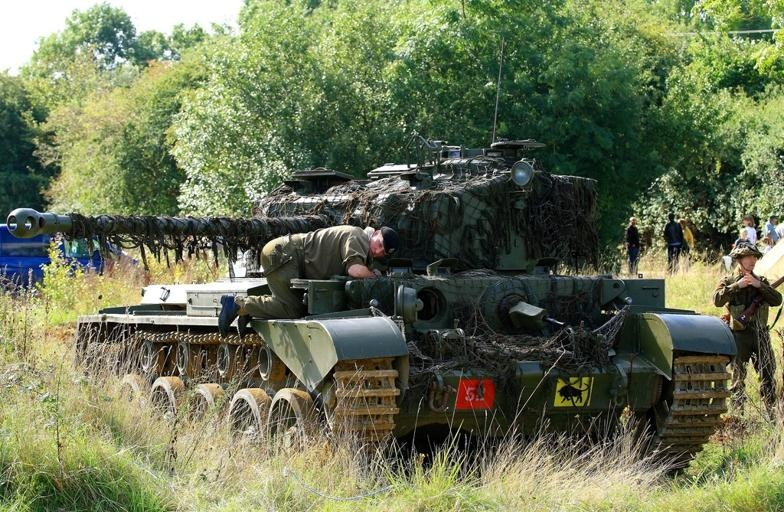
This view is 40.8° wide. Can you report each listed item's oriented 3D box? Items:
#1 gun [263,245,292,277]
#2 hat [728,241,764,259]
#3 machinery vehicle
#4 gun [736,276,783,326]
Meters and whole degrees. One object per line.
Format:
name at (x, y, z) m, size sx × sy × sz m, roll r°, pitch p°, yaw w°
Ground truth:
gun at (-1.906, 0.042, 17.504) m, size 0.492 × 0.396 × 0.355 m, roll -40°, pitch -3°, yaw 10°
hat at (6.717, -0.116, 19.919) m, size 0.556 × 0.324 × 0.643 m, roll 0°, pitch -5°, yaw 3°
machinery vehicle at (0.253, 0.643, 18.120) m, size 10.417 × 5.665 × 4.747 m, roll 0°, pitch -3°, yaw -2°
gun at (6.357, 0.751, 18.334) m, size 0.220 × 1.103 × 0.155 m, roll 40°, pitch -10°, yaw -23°
